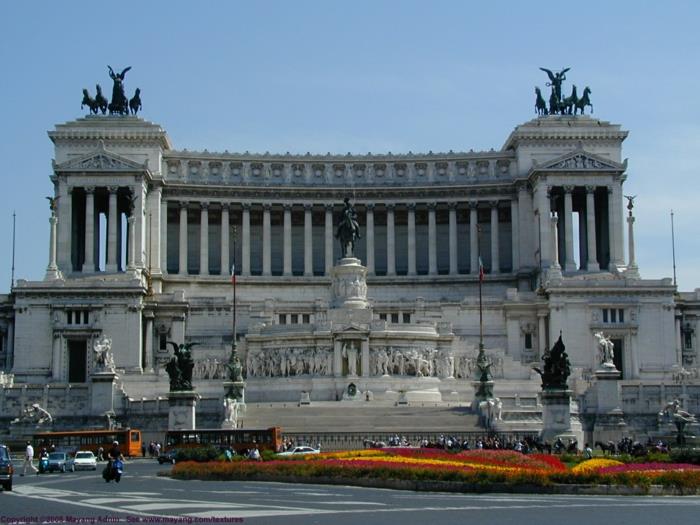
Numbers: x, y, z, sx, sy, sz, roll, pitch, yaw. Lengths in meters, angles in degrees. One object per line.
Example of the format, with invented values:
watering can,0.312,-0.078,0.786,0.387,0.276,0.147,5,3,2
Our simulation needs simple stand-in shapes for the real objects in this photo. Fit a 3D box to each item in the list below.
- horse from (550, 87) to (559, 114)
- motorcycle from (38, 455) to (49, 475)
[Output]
horse,18.940,-13.979,163.924,0.888,2.451,0.838,-2,-7,7
motorcycle,-19.016,12.692,111.468,0.578,0.570,1.137,2,-17,-11
